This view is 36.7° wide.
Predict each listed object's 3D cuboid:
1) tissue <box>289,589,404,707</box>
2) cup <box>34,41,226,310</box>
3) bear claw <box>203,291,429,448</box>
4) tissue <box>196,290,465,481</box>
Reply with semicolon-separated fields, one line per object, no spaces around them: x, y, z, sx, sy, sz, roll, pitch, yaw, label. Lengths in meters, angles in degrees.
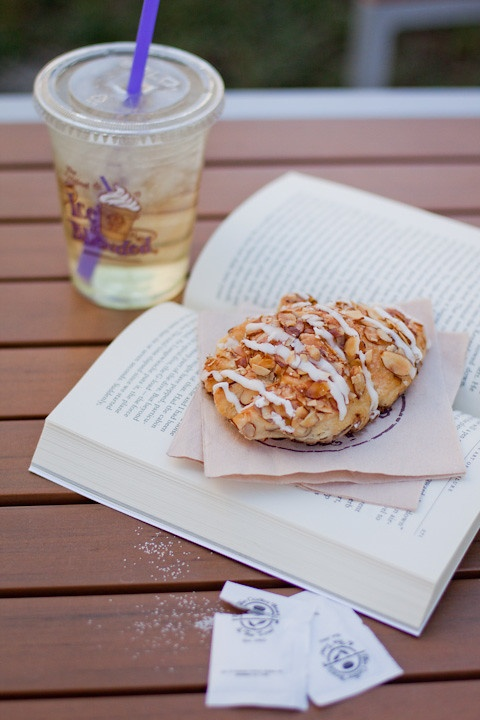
0.061;0.139;0.350;0.034;0.008;0.045;-12;38;-20;tissue
-0.067;-0.150;0.615;0.197;0.215;0.174;-3;41;-12;cup
0.044;0.008;0.452;0.123;0.041;0.091;-12;39;-22;bear claw
0.059;0.009;0.468;0.168;0.031;0.161;2;43;-6;tissue
